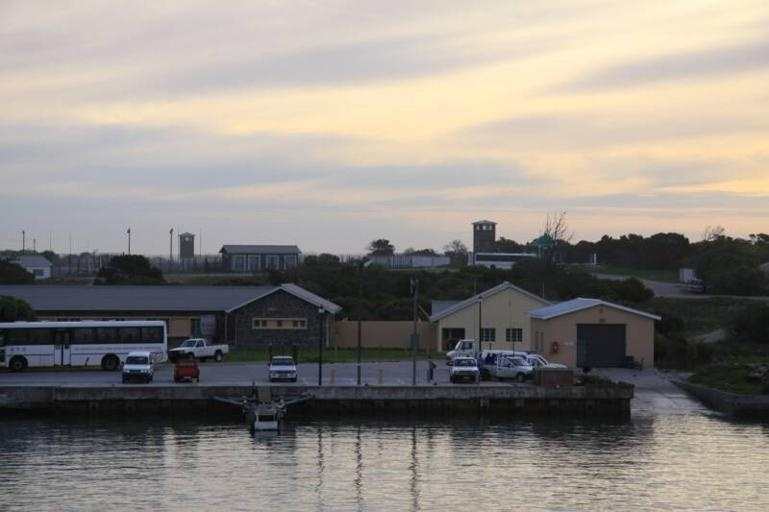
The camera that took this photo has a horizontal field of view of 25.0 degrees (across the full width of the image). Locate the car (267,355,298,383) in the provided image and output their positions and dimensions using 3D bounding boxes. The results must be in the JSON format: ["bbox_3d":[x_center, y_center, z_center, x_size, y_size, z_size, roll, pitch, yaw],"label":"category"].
[{"bbox_3d":[-8.448,9.402,144.642,2.293,2.105,2.185,0,-4,-6],"label":"car"}]

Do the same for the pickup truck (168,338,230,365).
[{"bbox_3d":[-16.745,8.351,156.506,3.065,2.117,6.552,-3,-5,27],"label":"pickup truck"}]

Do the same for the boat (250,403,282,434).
[{"bbox_3d":[-9.408,12.944,138.165,2.100,1.117,3.768,0,4,-3],"label":"boat"}]

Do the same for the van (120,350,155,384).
[{"bbox_3d":[-20.562,9.233,145.627,2.270,2.684,2.798,-1,-4,1],"label":"van"}]
